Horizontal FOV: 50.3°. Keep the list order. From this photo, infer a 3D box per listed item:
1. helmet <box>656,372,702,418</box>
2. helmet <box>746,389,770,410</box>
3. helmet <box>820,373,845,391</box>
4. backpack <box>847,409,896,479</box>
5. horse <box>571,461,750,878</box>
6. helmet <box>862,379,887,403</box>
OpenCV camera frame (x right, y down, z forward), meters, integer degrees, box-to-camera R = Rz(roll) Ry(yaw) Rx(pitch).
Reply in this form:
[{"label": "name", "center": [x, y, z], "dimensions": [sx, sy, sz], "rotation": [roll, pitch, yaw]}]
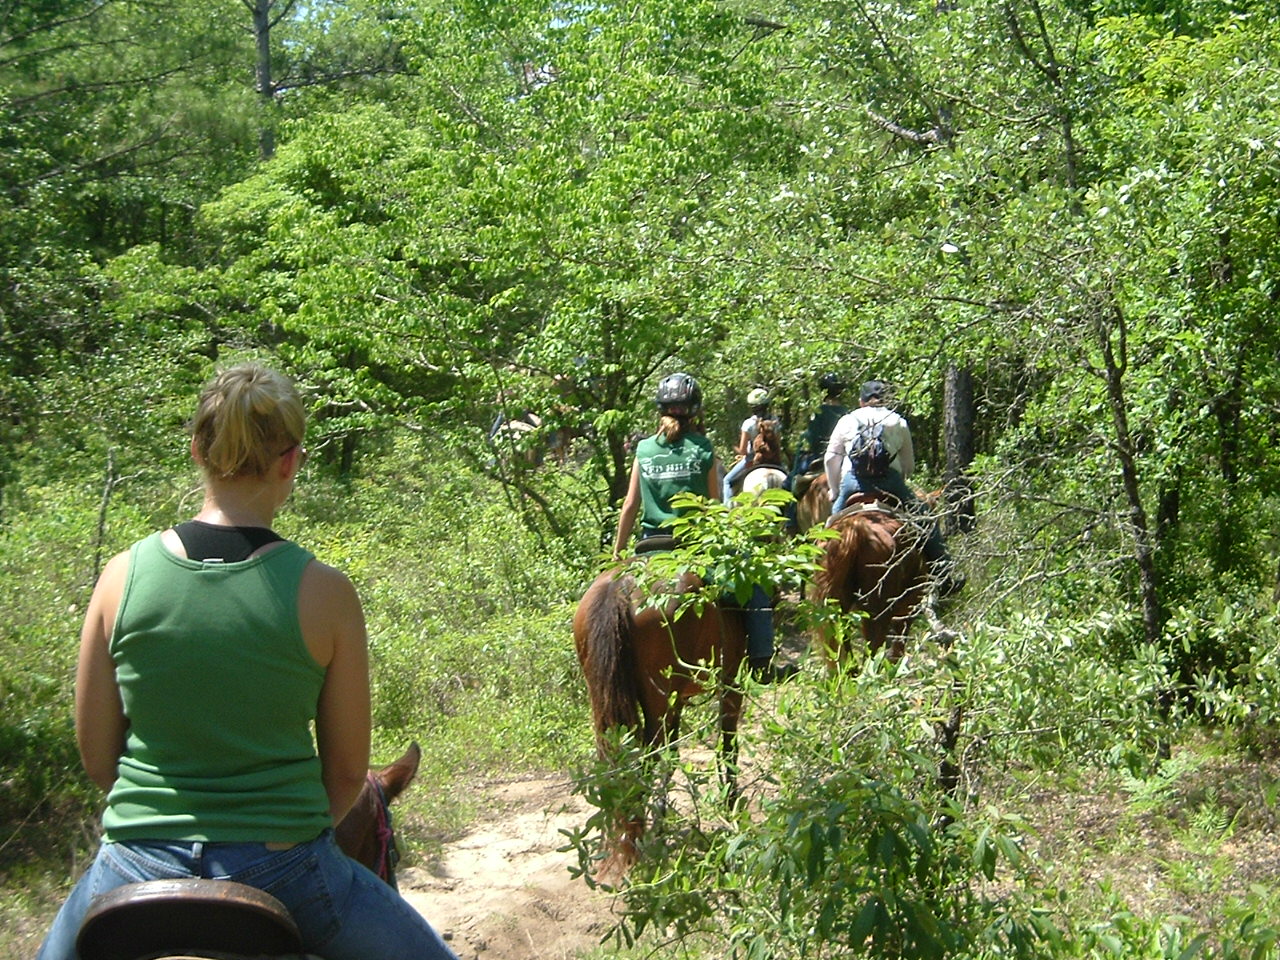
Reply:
[{"label": "helmet", "center": [0.255, -0.622, 9.612], "dimensions": [0.232, 0.315, 0.324], "rotation": [2, 30, 13]}, {"label": "helmet", "center": [1.282, -0.877, 15.069], "dimensions": [0.192, 0.248, 0.265], "rotation": [-3, -2, 36]}, {"label": "helmet", "center": [2.065, -1.047, 14.737], "dimensions": [0.179, 0.199, 0.145], "rotation": [4, 18, -3]}, {"label": "backpack", "center": [1.929, -0.277, 11.611], "dimensions": [0.349, 0.500, 0.186], "rotation": [-5, -11, 36]}, {"label": "horse", "center": [0.284, 1.431, 10.184], "dimensions": [0.685, 2.223, 2.961], "rotation": [-8, -6, 21]}, {"label": "helmet", "center": [2.101, -0.767, 12.159], "dimensions": [0.146, 0.227, 0.220], "rotation": [3, 2, -1]}]
